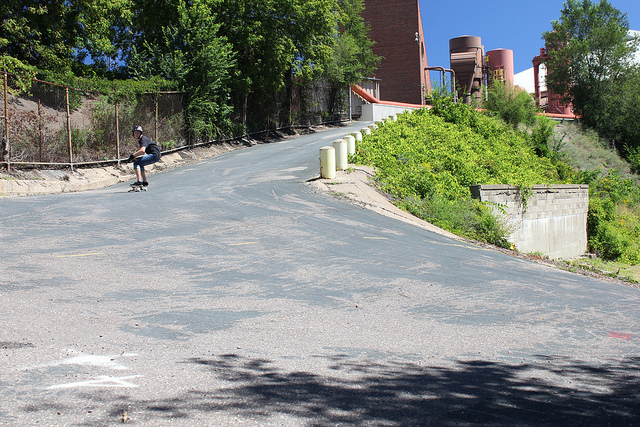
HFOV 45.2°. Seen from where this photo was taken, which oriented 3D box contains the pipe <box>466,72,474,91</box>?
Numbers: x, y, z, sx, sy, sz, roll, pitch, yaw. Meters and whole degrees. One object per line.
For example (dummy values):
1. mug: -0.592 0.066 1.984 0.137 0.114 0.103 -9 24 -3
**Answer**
1. pipe: 13.090 -11.350 66.554 0.631 1.654 1.737 2 5 10
